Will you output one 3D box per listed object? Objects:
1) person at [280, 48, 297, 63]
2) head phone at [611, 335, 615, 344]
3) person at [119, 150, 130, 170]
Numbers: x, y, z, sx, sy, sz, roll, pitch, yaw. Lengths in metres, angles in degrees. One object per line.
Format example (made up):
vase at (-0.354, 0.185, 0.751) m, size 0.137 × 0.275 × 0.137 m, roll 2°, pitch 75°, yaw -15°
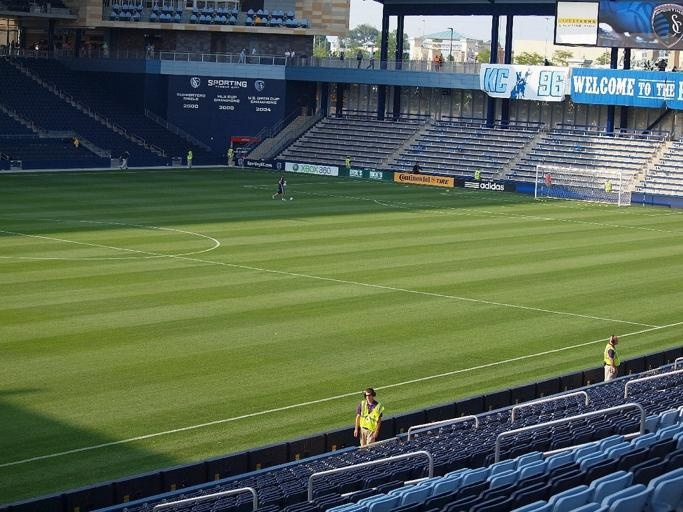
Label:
person at (-4.348, -16.243, 96.697) m, size 1.245 × 0.913 × 1.985 m, roll 3°, pitch 9°, yaw -6°
head phone at (8.699, 2.707, 38.078) m, size 0.172 × 0.267 × 0.167 m, roll 3°, pitch 14°, yaw 12°
person at (-15.534, -6.793, 85.348) m, size 0.663 × 1.159 × 0.954 m, roll -4°, pitch 13°, yaw -14°
